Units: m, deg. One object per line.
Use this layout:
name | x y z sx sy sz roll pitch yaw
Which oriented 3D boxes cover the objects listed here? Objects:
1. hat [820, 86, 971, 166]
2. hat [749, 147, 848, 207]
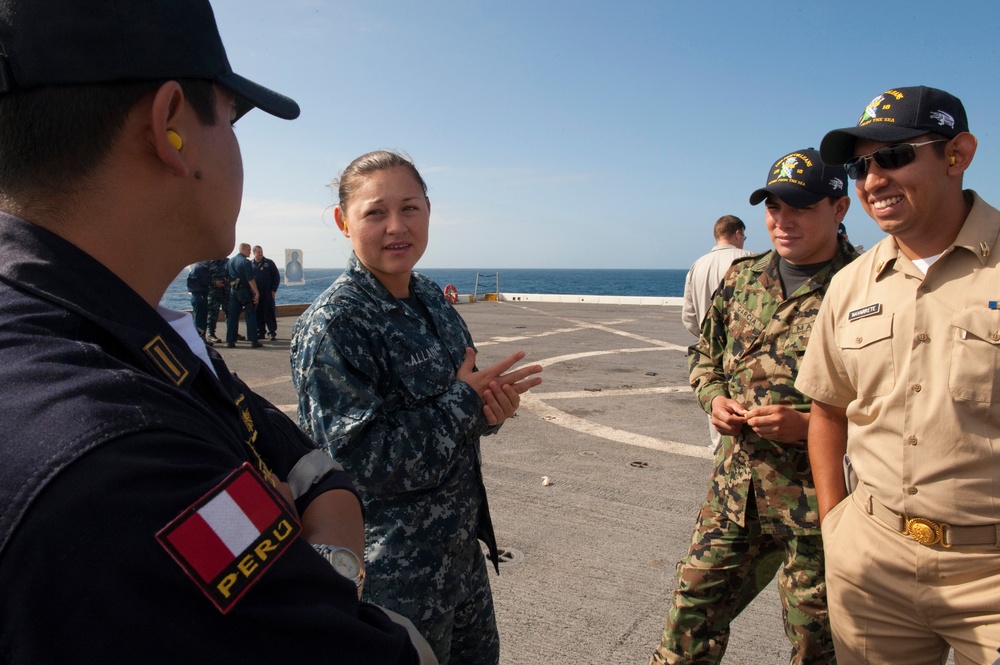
hat | 1.589 -0.845 2.672 0.519 0.246 0.325 1 4 -13
hat | 1.555 -0.810 3.489 0.552 0.289 0.366 -8 16 -27
